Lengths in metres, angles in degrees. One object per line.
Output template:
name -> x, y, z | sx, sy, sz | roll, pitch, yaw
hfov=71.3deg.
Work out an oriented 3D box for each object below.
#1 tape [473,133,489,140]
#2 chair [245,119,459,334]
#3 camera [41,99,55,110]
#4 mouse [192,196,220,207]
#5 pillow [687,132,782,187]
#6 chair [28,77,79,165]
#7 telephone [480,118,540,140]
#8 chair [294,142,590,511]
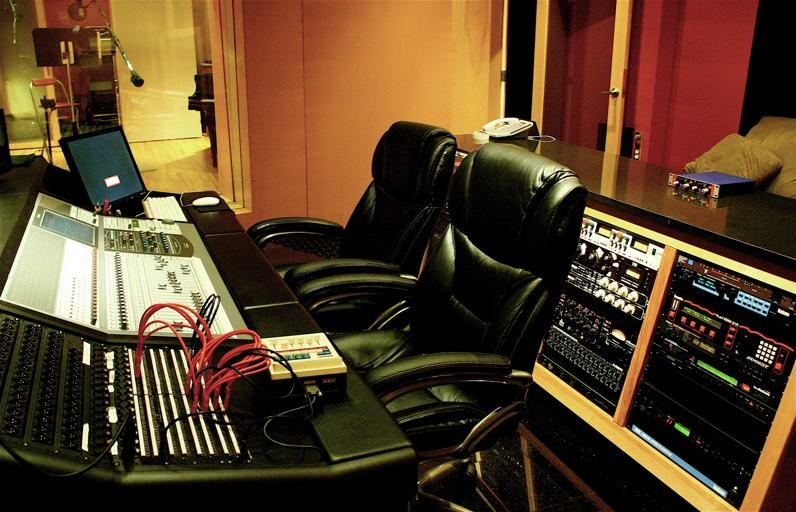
tape -> 0.557, -0.796, 3.689 | 0.098, 0.045, 0.064 | -1, 22, -2
chair -> -0.328, -0.146, 2.866 | 1.115, 1.092, 0.922 | 2, 19, -11
camera -> -2.762, -1.202, 4.379 | 0.100, 0.091, 0.092 | -7, 24, -25
mouse -> -1.002, -0.290, 2.872 | 0.093, 0.022, 0.066 | -8, 17, -31
pillow -> 2.007, -0.570, 3.320 | 0.477, 0.252, 0.531 | -1, 22, -2
chair -> -2.794, -1.169, 4.431 | 0.267, 0.435, 0.250 | -21, 17, -16
telephone -> 0.785, -0.871, 3.779 | 0.300, 0.089, 0.284 | -4, 19, -19
chair -> 0.173, 0.313, 2.274 | 0.771, 1.470, 0.839 | -13, 26, -26
